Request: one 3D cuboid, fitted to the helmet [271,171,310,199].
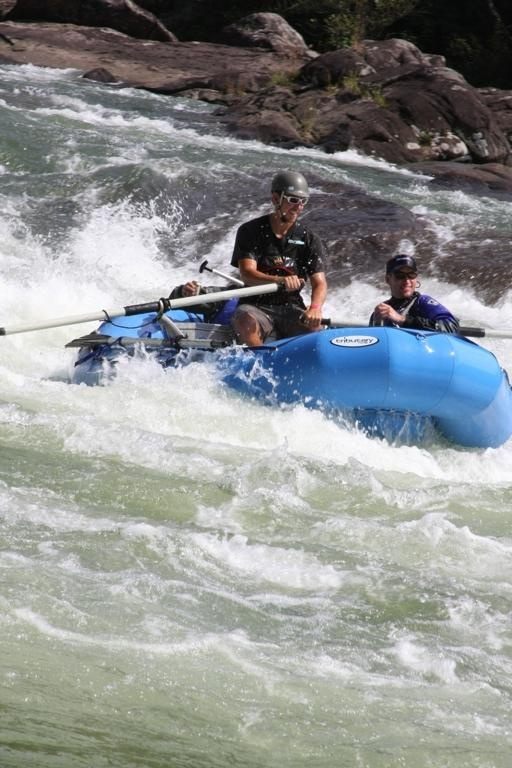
[{"bbox_3d":[0.233,-1.315,6.451,0.275,0.105,0.176,12,6,6],"label":"helmet"}]

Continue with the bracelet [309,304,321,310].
[{"bbox_3d":[0.397,-0.507,6.453,0.058,0.018,0.060,3,11,5],"label":"bracelet"}]

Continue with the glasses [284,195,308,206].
[{"bbox_3d":[0.250,-1.211,6.430,0.103,0.027,0.097,1,15,-39],"label":"glasses"}]
